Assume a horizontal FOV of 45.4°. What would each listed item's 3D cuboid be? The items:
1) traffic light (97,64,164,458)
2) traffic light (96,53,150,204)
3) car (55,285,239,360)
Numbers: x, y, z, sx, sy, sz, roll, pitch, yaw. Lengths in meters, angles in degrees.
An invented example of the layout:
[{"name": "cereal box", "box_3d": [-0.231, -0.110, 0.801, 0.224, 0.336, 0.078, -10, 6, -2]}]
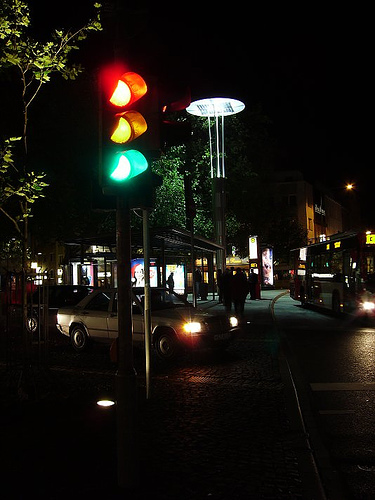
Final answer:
[{"name": "traffic light", "box_3d": [-0.367, 0.083, 2.792, 0.377, 2.449, 0.515, -1, -5, 4]}, {"name": "traffic light", "box_3d": [-0.357, -0.751, 2.799, 0.267, 0.848, 0.463, -2, -5, 19]}, {"name": "car", "box_3d": [-0.926, 1.641, 10.569, 2.484, 1.561, 3.841, 4, -8, -40]}]
